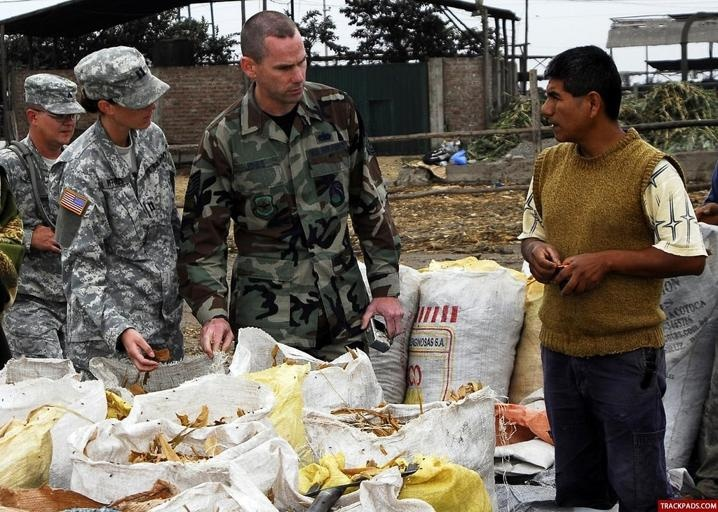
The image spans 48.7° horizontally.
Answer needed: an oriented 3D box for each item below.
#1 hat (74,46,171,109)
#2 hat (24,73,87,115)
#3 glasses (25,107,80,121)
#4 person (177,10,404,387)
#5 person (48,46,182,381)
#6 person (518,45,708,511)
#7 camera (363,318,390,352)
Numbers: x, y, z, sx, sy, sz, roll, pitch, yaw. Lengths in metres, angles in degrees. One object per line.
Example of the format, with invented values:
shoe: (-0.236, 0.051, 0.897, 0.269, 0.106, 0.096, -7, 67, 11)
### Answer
hat: (-1.015, -0.789, 3.404, 0.412, 0.192, 0.305, 1, 37, 6)
hat: (-1.725, -0.934, 4.533, 0.370, 0.191, 0.281, 9, 17, 19)
glasses: (-1.748, -0.788, 4.477, 0.144, 0.039, 0.142, -5, 3, 15)
person: (-0.290, -0.282, 3.435, 0.981, 1.523, 0.403, -3, 7, -13)
person: (-0.984, -0.179, 3.323, 0.553, 1.394, 0.726, -4, 7, -21)
person: (0.996, 0.157, 3.196, 0.662, 1.968, 0.477, 0, 7, 11)
camera: (0.082, 0.328, 3.335, 0.104, 0.120, 0.214, -2, 6, 1)
